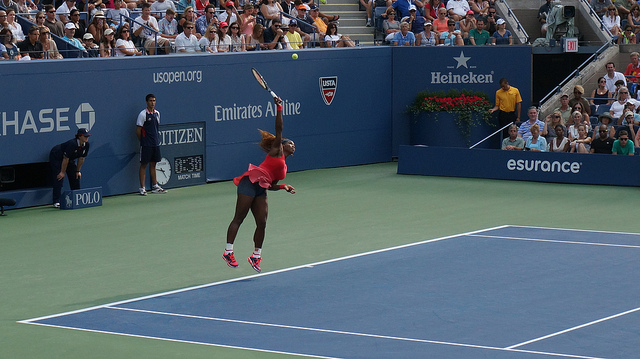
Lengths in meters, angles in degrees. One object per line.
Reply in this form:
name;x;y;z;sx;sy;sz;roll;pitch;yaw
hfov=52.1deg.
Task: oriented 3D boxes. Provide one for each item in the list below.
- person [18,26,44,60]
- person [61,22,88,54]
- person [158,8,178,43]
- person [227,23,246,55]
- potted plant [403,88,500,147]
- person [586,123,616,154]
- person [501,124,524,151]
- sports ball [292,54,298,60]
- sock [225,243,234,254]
person;-8.996;-4.221;20.350;0.706;0.986;0.770;-1;14;-1
person;-8.199;-4.718;21.645;0.671;0.804;0.582;-5;15;-18
person;-5.525;-5.600;23.709;0.678;0.999;0.883;-3;14;-11
person;-3.083;-5.157;24.134;0.663;1.100;1.250;-2;14;-7
potted plant;5.529;-2.426;27.463;2.693;1.673;2.724;1;0;16
person;9.588;-1.344;22.349;0.770;0.972;0.484;3;14;13
person;7.046;-1.533;23.983;0.737;0.916;0.753;4;14;16
sports ball;-0.958;-4.611;24.851;0.122;0.200;0.332;8;16;30
sock;-2.008;1.487;14.297;0.155;0.260;0.283;-1;14;-4
